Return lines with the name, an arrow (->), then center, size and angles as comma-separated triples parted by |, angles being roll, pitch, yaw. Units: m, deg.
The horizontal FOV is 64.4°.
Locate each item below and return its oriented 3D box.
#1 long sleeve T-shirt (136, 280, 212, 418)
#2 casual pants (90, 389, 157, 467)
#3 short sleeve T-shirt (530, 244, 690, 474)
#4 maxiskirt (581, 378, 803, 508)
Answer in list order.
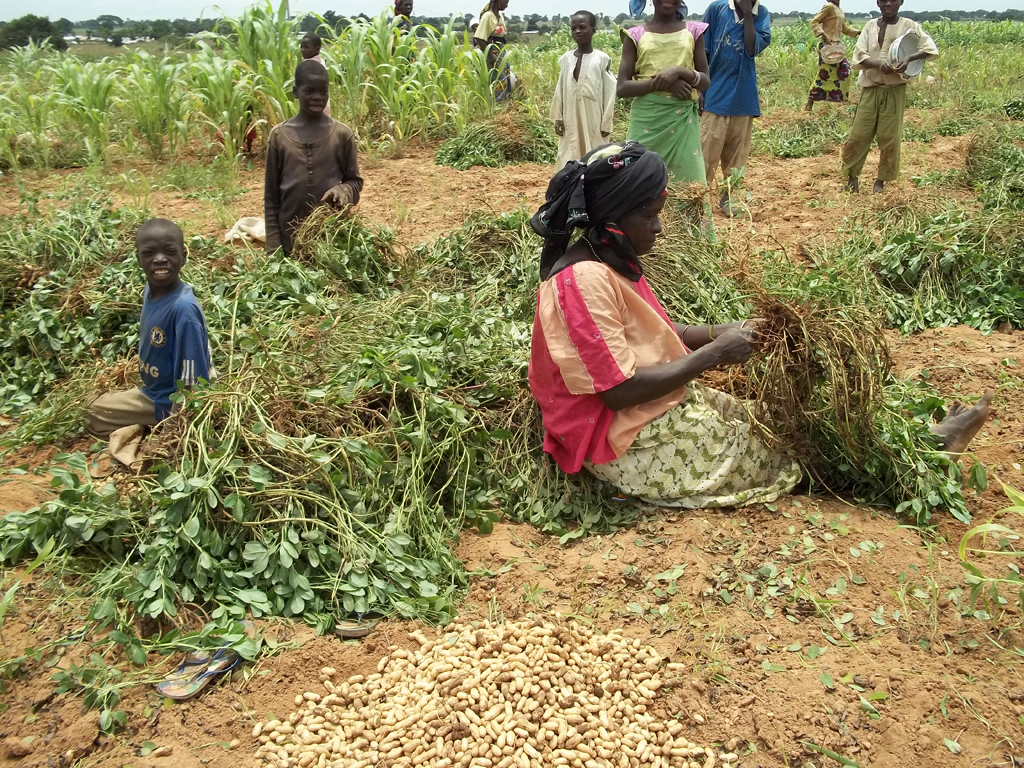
long sleeve T-shirt -> -1.765, -0.152, 4.244 | 0.264, 0.576, 0.661 | -15, 30, -38
casual pants -> -2.176, 0.268, 4.546 | 0.203, 0.438, 0.454 | 22, 42, -54
short sleeve T-shirt -> 0.474, -0.217, 4.277 | 0.942, 1.118, 1.063 | -1, 28, 11
maxiskirt -> 0.914, 0.345, 4.012 | 0.917, 0.361, 0.605 | -6, 29, 7
